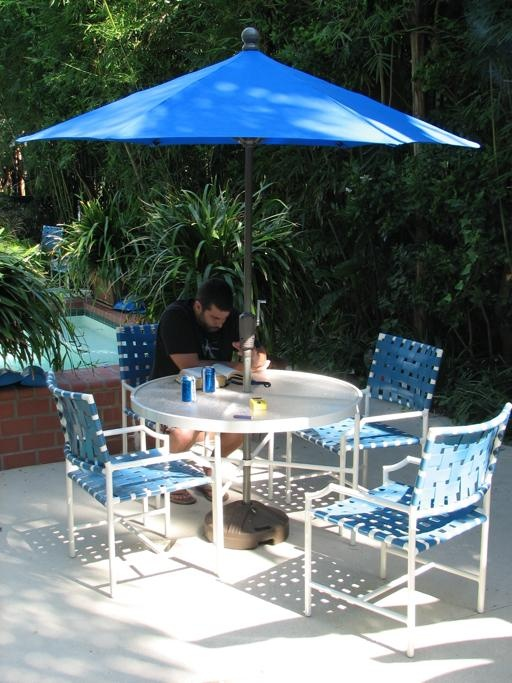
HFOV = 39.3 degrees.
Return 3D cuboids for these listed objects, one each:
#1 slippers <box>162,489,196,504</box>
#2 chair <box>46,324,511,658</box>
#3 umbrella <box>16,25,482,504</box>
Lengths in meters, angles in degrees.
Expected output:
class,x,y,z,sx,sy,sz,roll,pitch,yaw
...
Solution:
class,x,y,z,sx,sy,sz,roll,pitch,yaw
slippers,-0.374,0.798,3.693,0.061,0.048,0.122,-2,2,-36
chair,0.131,0.530,2.823,1.320,0.586,1.283,0,2,-2
umbrella,-0.026,-0.470,3.335,2.044,1.868,1.905,-9,20,-25
